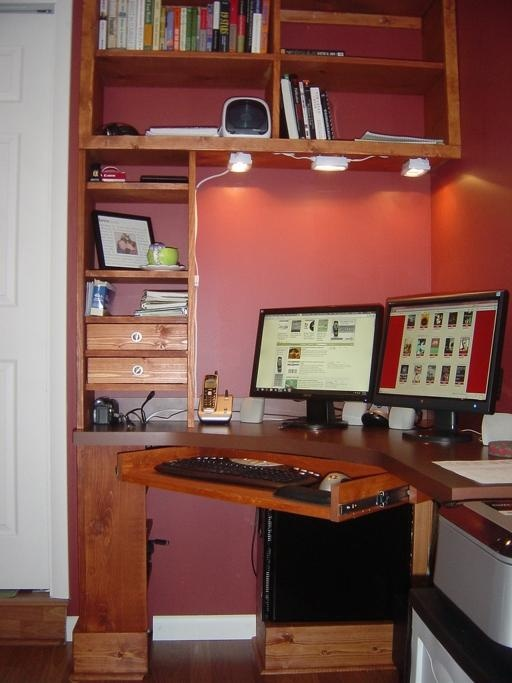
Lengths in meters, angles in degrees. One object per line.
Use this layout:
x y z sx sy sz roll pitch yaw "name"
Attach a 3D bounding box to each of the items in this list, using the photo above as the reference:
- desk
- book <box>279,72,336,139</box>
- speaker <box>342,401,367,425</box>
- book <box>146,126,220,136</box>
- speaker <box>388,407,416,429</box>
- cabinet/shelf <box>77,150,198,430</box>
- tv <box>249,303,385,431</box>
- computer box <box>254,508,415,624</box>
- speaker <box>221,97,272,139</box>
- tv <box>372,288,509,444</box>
0.087 0.654 1.878 1.037 0.619 0.586 0 -3 -8 "desk"
0.177 -0.863 2.326 0.239 0.332 0.251 -2 10 -2 "book"
0.354 0.261 2.195 0.084 0.105 0.109 6 -10 -21 "speaker"
-0.278 -0.780 2.248 0.259 0.037 0.021 0 6 0 "book"
0.483 0.245 2.039 0.086 0.079 0.087 0 5 -44 "speaker"
-0.449 -0.227 2.336 0.453 1.057 0.435 -1 6 -6 "cabinet/shelf"
0.224 0.090 2.145 0.471 0.387 0.195 -2 -8 33 "tv"
0.273 0.771 2.158 0.450 0.393 0.252 -1 0 5 "computer box"
-0.041 -0.837 2.256 0.182 0.161 0.068 -1 20 -3 "speaker"
0.559 0.074 1.827 0.190 0.468 0.479 17 -9 -34 "tv"
